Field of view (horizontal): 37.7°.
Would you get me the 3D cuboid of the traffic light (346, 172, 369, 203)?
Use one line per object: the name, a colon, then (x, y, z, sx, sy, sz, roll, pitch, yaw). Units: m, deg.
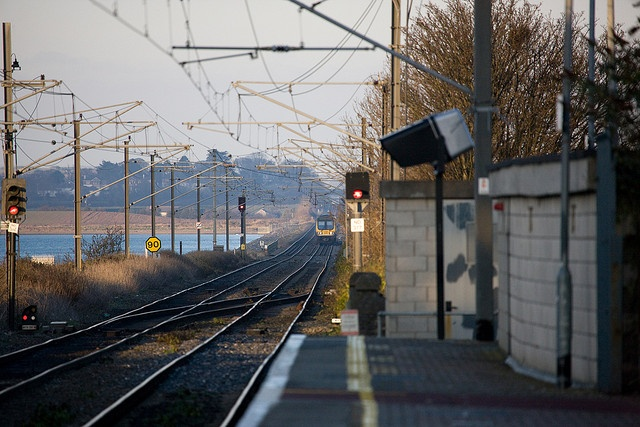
traffic light: (1.142, -0.847, 29.948, 0.858, 1.036, 0.175, 0, -6, -2)

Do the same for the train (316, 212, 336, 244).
train: (0.469, 1.441, 93.548, 1.845, 3.002, 2.910, -2, -2, -2)

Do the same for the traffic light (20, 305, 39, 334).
traffic light: (-8.712, 3.152, 27.765, 0.640, 0.791, 0.414, 2, -11, -16)
